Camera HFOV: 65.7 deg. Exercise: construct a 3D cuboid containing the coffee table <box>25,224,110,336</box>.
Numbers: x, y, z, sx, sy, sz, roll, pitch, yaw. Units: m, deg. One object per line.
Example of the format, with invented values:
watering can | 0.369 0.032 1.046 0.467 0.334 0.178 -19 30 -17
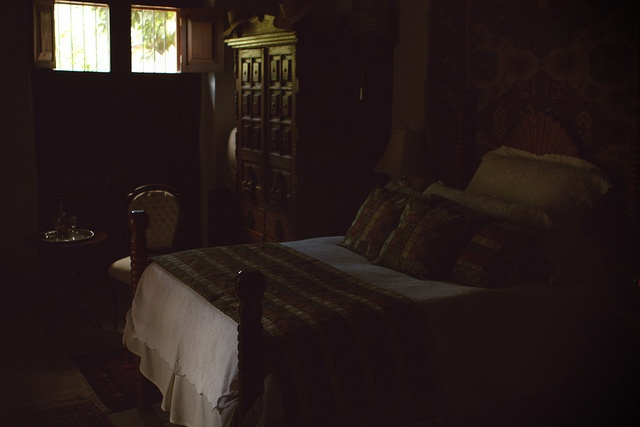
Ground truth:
coffee table | -2.560 0.673 5.312 0.874 1.079 0.916 5 6 22
